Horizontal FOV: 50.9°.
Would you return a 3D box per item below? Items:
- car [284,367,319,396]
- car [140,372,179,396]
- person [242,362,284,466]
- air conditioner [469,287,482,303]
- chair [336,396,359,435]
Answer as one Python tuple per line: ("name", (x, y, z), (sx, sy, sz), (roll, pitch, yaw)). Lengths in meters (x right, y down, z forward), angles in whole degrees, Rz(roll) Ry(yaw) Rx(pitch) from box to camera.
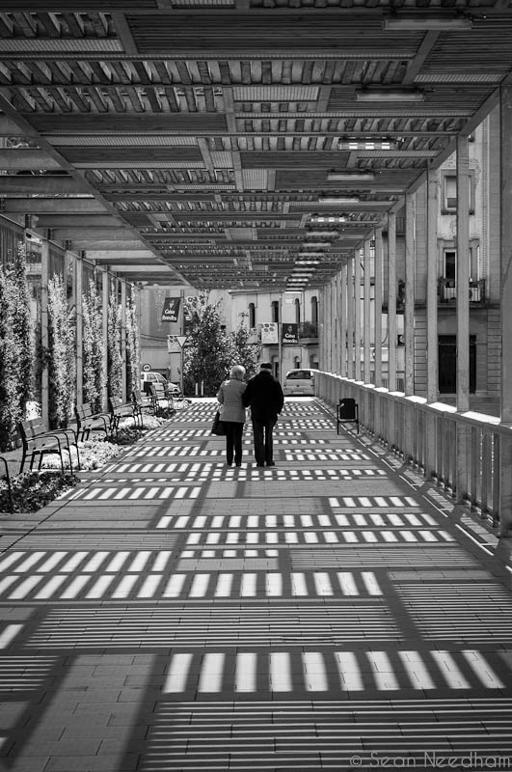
("car", (3.192, -0.164, 37.702), (1.464, 1.467, 2.817), (1, 9, 6))
("car", (-6.130, 0.331, 36.244), (2.992, 2.064, 1.966), (-2, 2, 2))
("person", (0.142, 0.532, 9.917), (0.681, 1.888, 1.017), (0, -2, 2))
("air conditioner", (9.212, -3.700, 22.492), (0.420, 0.762, 1.227), (-1, -2, 16))
("chair", (2.475, 0.855, 14.531), (0.556, 0.943, 0.888), (0, -2, 10))
